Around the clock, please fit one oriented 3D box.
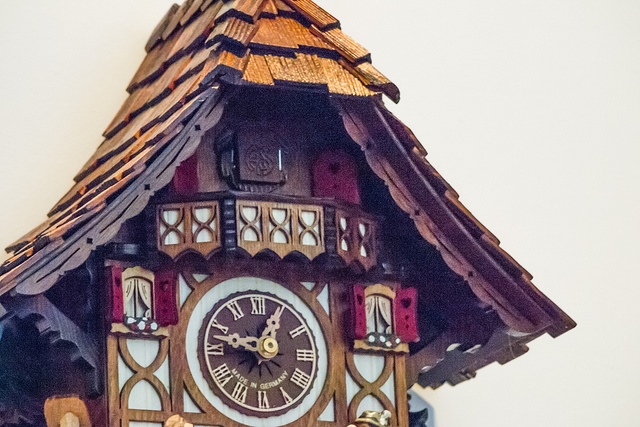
[{"bbox_3d":[-0.566,1.167,15.258,0.875,0.967,0.121,6,-19,-25],"label":"clock"}]
